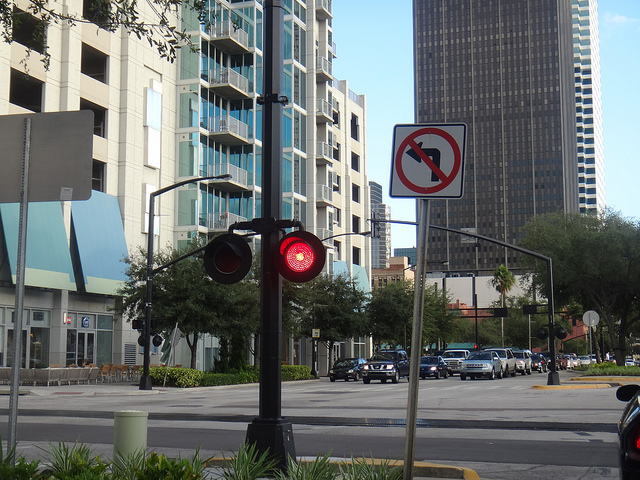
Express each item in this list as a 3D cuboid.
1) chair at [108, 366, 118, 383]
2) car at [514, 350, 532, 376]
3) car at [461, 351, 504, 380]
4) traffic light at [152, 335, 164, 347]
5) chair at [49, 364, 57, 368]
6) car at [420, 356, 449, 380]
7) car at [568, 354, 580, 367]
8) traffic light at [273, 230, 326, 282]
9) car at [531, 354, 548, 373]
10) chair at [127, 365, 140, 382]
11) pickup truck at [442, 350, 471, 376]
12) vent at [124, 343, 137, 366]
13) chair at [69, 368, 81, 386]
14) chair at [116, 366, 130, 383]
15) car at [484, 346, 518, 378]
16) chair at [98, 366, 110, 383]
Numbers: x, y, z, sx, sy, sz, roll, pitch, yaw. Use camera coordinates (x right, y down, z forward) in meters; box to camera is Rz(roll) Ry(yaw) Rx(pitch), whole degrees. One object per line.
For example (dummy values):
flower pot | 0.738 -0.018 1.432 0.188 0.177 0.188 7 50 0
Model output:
chair | -10.818 6.855 49.648 0.485 0.758 0.472 -1 -4 26
car | 13.883 8.396 64.902 0.863 0.976 2.084 -4 -13 16
car | 9.600 7.438 56.602 2.073 1.707 2.642 -3 -10 17
traffic light | -7.082 4.460 41.714 0.409 0.507 0.361 -15 -30 33
chair | -13.320 6.279 47.386 0.195 0.149 0.107 -1 -13 -2
car | 7.026 7.722 58.286 1.215 1.012 2.924 -3 -14 13
car | 25.272 11.784 93.977 1.286 1.264 2.310 -1 -18 8
traffic light | -0.396 0.312 18.714 1.101 0.987 0.312 -4 -9 21
car | 16.600 9.238 71.732 1.073 1.026 2.118 -4 -16 16
chair | -9.778 7.004 50.008 0.704 1.079 0.698 2 -3 -28
pickup truck | 9.144 8.171 64.420 1.038 1.194 2.316 -3 -11 15
vent | -10.689 6.451 53.724 0.227 1.281 1.250 -3 -9 17
chair | -11.708 6.419 45.437 0.509 0.518 1.209 2 -10 -15
chair | -10.408 7.025 49.852 0.685 1.054 0.719 -2 -5 44
car | 11.327 7.660 60.245 1.741 1.871 3.453 -5 -16 19
chair | -11.100 6.884 48.802 0.522 0.770 1.529 2 -10 -15
